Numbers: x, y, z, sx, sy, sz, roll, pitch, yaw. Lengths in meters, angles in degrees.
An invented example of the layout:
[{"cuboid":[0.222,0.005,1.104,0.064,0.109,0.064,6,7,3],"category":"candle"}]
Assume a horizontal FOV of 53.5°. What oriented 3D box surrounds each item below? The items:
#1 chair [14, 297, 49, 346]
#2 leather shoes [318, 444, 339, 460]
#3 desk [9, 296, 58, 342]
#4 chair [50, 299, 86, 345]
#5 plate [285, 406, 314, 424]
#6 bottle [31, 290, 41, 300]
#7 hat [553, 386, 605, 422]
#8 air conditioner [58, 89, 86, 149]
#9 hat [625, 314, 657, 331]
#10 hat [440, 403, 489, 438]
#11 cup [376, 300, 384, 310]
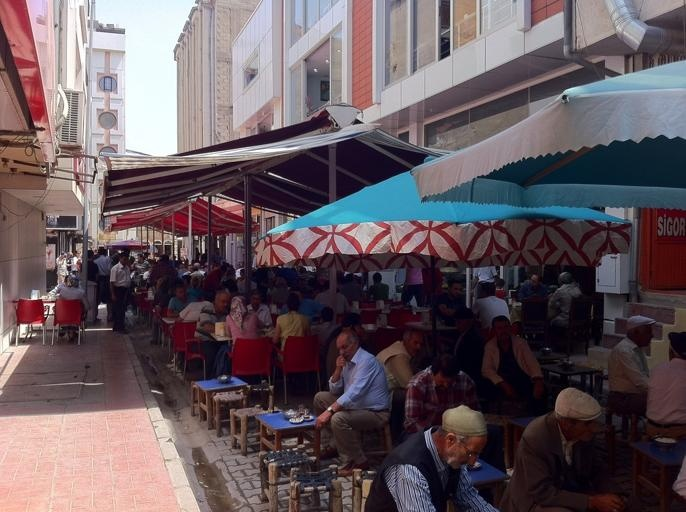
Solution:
[{"cuboid":[-7.096,1.403,15.537,0.764,1.150,0.833,-5,17,-37],"category":"chair"},{"cuboid":[-0.217,2.485,8.632,0.331,0.160,0.118,5,-7,-15],"category":"leather shoes"},{"cuboid":[-7.339,1.487,16.044,0.762,1.321,0.861,-1,18,-18],"category":"desk"},{"cuboid":[-6.307,1.489,15.549,0.646,1.089,0.704,1,1,-32],"category":"chair"},{"cuboid":[-0.528,1.924,8.192,0.316,0.105,0.377,1,-3,-20],"category":"plate"},{"cuboid":[-8.904,1.120,19.619,0.190,0.397,0.201,1,-9,0],"category":"bottle"},{"cuboid":[2.181,1.356,6.306,0.358,0.225,0.423,-6,10,-27],"category":"hat"},{"cuboid":[-5.719,-2.920,14.248,0.369,1.287,0.987,1,-2,-16],"category":"air conditioner"},{"cuboid":[3.802,0.838,8.730,0.378,0.155,0.276,-6,-1,15],"category":"hat"},{"cuboid":[0.986,1.341,5.572,0.275,0.150,0.227,2,9,-1],"category":"hat"},{"cuboid":[0.794,1.040,14.605,0.138,0.161,0.151,1,-2,0],"category":"cup"}]
